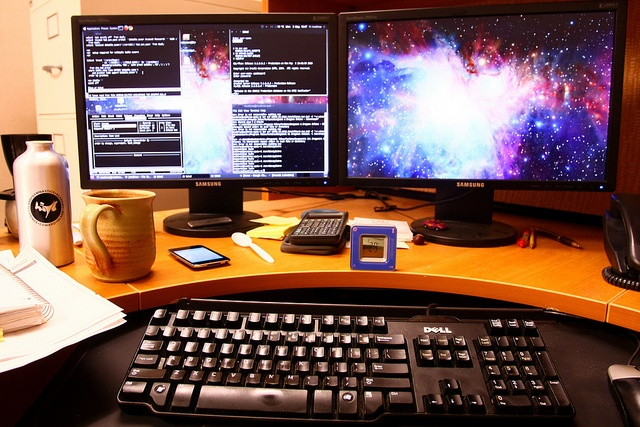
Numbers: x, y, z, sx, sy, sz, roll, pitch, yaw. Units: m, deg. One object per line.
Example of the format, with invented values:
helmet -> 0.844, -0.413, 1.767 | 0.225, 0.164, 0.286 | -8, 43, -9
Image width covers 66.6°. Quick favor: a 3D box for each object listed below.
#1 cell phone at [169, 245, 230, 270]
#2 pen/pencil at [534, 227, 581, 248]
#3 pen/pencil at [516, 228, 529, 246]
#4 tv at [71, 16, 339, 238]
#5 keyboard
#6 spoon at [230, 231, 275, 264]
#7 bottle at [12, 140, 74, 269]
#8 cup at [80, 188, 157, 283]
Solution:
cell phone -> -0.277, 0.102, 1.113 | 0.085, 0.014, 0.143 | -7, 17, -38
pen/pencil -> 0.609, 0.064, 1.263 | 0.018, 0.016, 0.156 | -18, 16, -14
pen/pencil -> 0.510, 0.059, 1.231 | 0.026, 0.013, 0.042 | 9, 37, 17
tv -> -0.297, -0.247, 1.267 | 0.637, 0.504, 0.083 | -2, 13, -5
keyboard -> 0.037, 0.254, 0.855 | 0.739, 0.129, 0.177 | -1, 14, 1
spoon -> -0.167, 0.079, 1.185 | 0.045, 0.022, 0.167 | -28, 38, -19
bottle -> -0.607, -0.020, 1.076 | 0.113, 0.275, 0.080 | -10, 16, -31
cup -> -0.403, 0.035, 1.032 | 0.175, 0.178, 0.233 | 0, 8, 5
